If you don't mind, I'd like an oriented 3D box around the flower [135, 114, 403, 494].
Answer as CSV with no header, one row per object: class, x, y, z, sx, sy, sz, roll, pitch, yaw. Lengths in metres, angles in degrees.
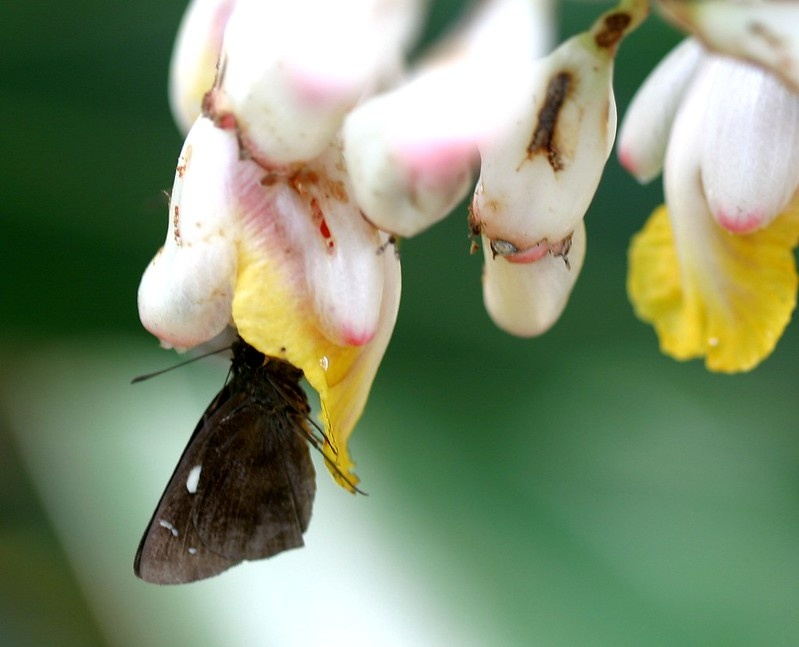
flower,-0.145,0.003,0.909,0.302,0.150,0.239,7,52,-42
